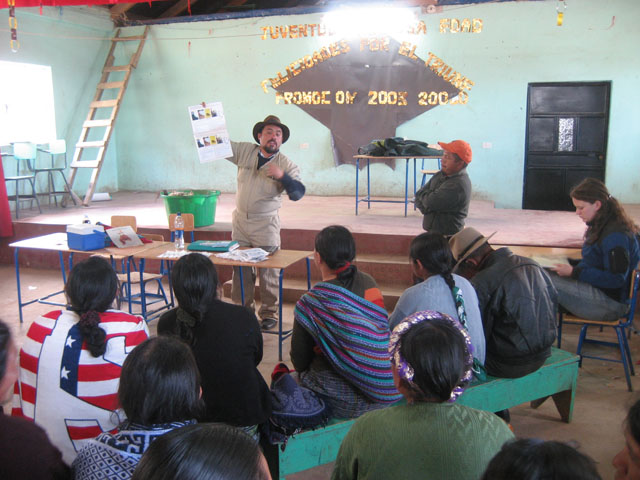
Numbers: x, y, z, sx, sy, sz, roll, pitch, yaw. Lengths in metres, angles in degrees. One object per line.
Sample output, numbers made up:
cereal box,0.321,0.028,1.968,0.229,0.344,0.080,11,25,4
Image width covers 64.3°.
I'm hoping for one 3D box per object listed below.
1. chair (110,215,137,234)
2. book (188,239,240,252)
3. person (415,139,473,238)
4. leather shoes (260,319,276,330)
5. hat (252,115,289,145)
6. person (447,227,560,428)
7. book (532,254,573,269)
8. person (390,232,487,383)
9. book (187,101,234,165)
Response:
chair,-2.080,-0.190,5.417,0.178,0.137,0.381,-6,9,-41
book,-0.956,0.055,4.580,0.459,0.077,0.394,-2,7,-14
person,1.148,-0.490,4.725,0.490,0.868,0.450,9,25,16
leather shoes,-0.482,0.786,4.762,0.179,0.072,0.060,-3,41,5
hat,-0.464,-1.060,4.792,0.301,0.128,0.339,2,-26,-1
person,1.118,0.578,3.232,0.532,1.267,0.754,-10,7,-28
book,1.885,0.170,4.161,0.231,0.101,0.236,6,7,33
person,0.655,0.342,2.812,0.559,0.749,0.536,-14,18,-15
book,-0.989,-0.994,4.661,0.370,0.543,0.291,-2,7,-13
